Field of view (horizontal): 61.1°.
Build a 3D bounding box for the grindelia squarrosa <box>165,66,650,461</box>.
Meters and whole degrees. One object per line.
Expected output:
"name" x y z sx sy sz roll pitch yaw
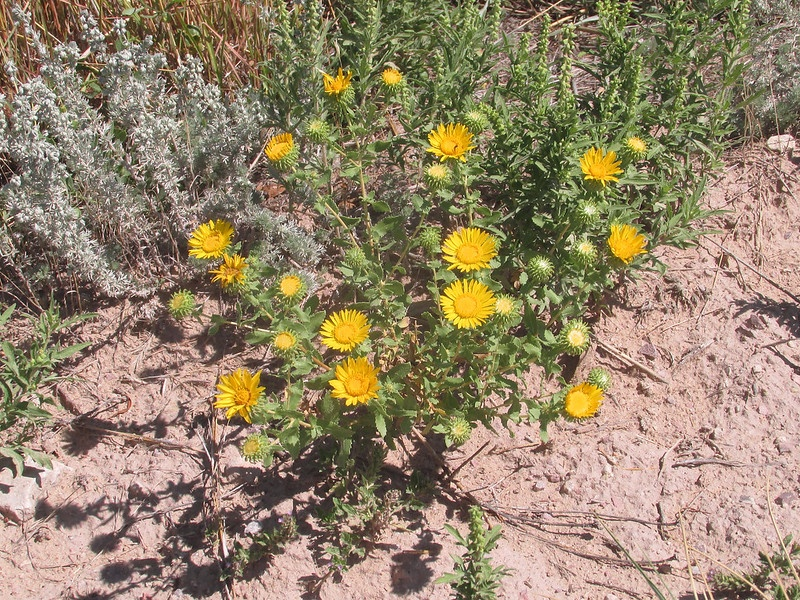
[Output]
"grindelia squarrosa" 0.203 -0.055 4.819 2.366 2.001 2.920 3 84 -2
